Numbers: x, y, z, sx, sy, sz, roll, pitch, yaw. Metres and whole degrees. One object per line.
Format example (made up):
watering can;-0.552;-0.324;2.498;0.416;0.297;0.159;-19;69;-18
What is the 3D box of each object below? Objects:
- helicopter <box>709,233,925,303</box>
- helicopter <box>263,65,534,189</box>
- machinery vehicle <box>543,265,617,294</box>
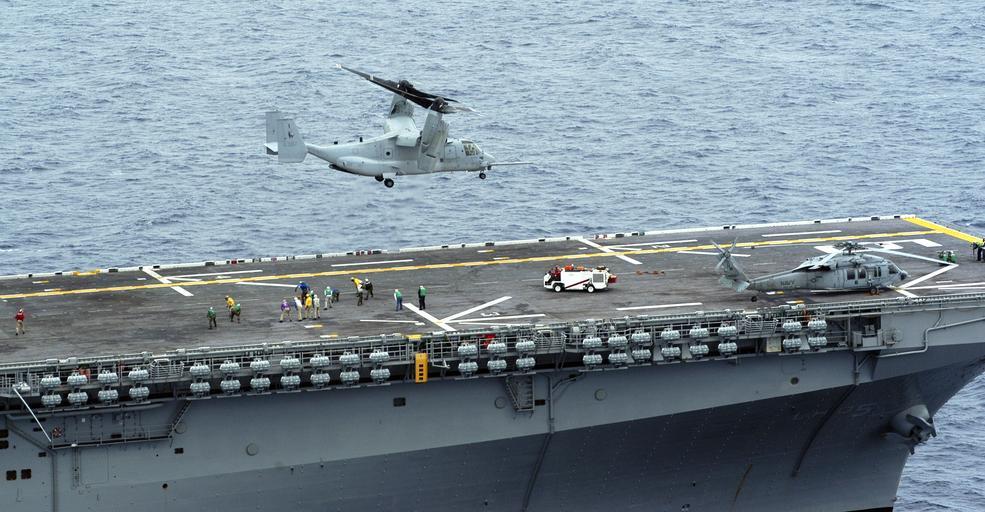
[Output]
helicopter;29.037;1.452;182.584;15.564;3.285;6.084;-3;22;-3
helicopter;-9.438;-11.430;190.982;24.703;6.078;12.721;-1;17;-15
machinery vehicle;8.205;2.160;184.358;6.247;1.601;2.669;2;4;5
